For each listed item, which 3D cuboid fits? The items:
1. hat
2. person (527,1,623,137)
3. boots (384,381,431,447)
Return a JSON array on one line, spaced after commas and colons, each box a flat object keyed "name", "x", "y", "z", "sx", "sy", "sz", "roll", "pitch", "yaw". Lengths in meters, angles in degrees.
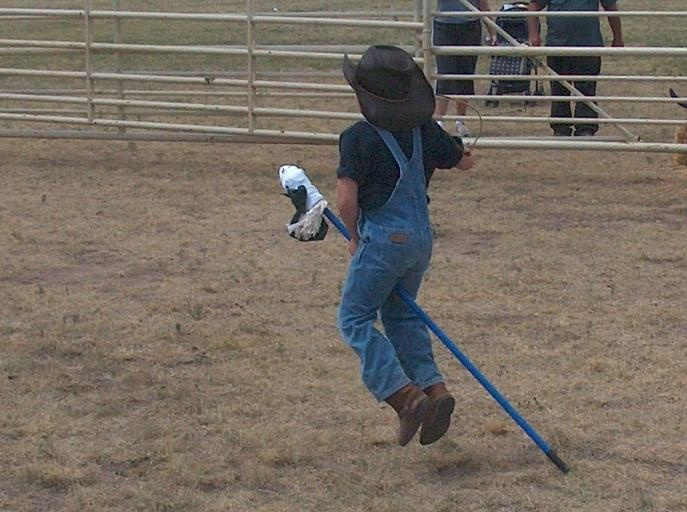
[{"name": "hat", "x": 0.313, "y": -1.056, "z": 6.928, "sx": 0.522, "sy": 0.518, "sz": 0.206, "roll": 1, "pitch": 15, "yaw": 1}, {"name": "person", "x": 2.103, "y": -1.729, "z": 10.197, "sx": 0.839, "sy": 1.279, "sz": 0.826, "roll": 7, "pitch": 16, "yaw": 22}, {"name": "boots", "x": 0.405, "y": 1.010, "z": 6.956, "sx": 0.254, "sy": 0.378, "sz": 0.156, "roll": 0, "pitch": 15, "yaw": -4}]
